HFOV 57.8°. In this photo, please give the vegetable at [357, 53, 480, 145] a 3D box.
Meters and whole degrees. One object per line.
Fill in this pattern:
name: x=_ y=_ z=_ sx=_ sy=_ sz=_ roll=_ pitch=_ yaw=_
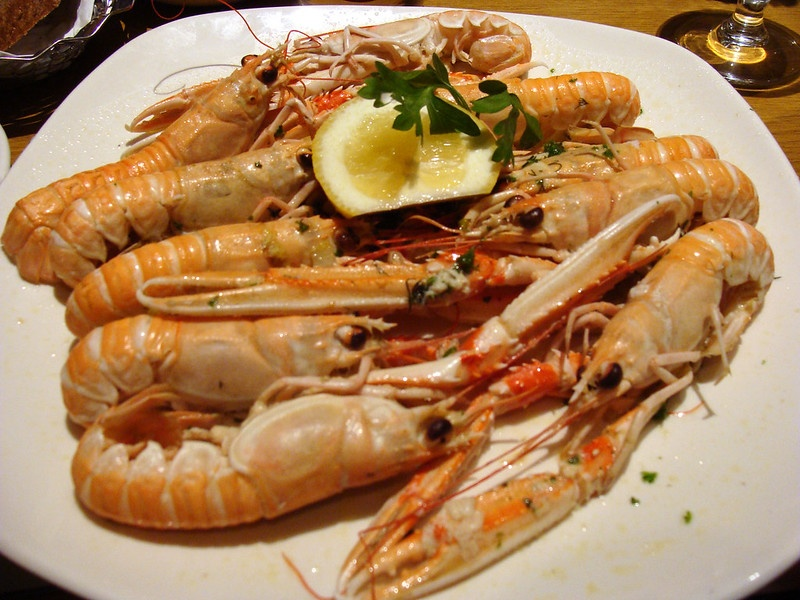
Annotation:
vegetable: x=0.101 y=-0.856 z=3.172 sx=0.426 sy=0.127 sz=0.413 roll=-30 pitch=85 yaw=-22
